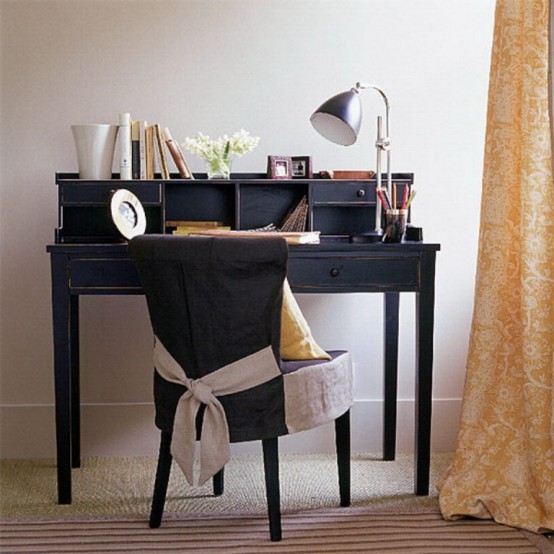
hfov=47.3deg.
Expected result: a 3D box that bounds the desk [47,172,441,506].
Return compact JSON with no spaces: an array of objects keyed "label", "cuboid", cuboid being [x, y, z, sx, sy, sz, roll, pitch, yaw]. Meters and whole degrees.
[{"label":"desk","cuboid":[-0.176,0.207,2.239,0.946,1.103,0.408,-1,0,-6]}]

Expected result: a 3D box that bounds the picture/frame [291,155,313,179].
[{"label":"picture/frame","cuboid":[0.099,-0.443,2.534,0.089,0.114,0.073,-1,-1,3]}]

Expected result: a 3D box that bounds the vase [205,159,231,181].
[{"label":"vase","cuboid":[-0.227,-0.423,2.477,0.067,0.065,0.069,0,-3,11]}]

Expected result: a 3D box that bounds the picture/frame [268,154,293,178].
[{"label":"picture/frame","cuboid":[0.009,-0.435,2.499,0.074,0.097,0.085,1,6,-1]}]

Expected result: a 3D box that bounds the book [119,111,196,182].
[{"label":"book","cuboid":[-0.470,-0.506,2.443,0.269,0.248,0.093,-3,8,-19]}]

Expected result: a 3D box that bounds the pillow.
[{"label":"pillow","cuboid":[0.081,0.143,1.984,0.058,0.251,0.192,-5,16,15]}]

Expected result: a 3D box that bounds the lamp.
[{"label":"lamp","cuboid":[0.335,-0.465,2.438,0.378,0.617,0.557,1,8,12]}]

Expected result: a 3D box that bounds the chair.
[{"label":"chair","cuboid":[-0.105,0.304,2.106,0.585,0.994,0.625,1,6,41]}]
